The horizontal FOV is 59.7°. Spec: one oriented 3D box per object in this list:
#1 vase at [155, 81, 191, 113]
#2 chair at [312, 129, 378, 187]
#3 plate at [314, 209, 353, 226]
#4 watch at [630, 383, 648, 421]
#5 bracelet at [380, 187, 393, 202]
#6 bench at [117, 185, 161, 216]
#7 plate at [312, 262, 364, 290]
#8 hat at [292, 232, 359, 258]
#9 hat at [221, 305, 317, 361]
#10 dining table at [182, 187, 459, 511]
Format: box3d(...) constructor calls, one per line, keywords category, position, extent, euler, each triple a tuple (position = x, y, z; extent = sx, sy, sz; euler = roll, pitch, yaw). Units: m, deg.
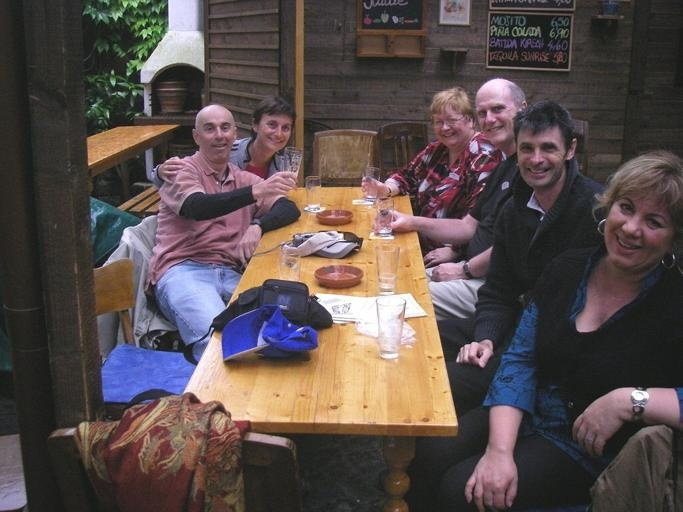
box3d(category="vase", position=(-2.021, -1.898, 7.098), extent=(0.377, 0.322, 0.350), euler=(0, 12, -3))
box3d(category="chair", position=(0.000, -0.821, 5.137), extent=(0.466, 0.809, 0.532), euler=(1, 8, -1))
box3d(category="plate", position=(-0.039, -0.219, 3.304), extent=(0.123, 0.042, 0.123), euler=(-3, 24, 2))
box3d(category="watch", position=(0.867, 0.423, 1.741), extent=(0.048, 0.079, 0.080), euler=(2, 29, 24))
box3d(category="bracelet", position=(0.303, -0.407, 3.848), extent=(0.040, 0.084, 0.112), euler=(31, 30, 2))
box3d(category="bench", position=(-1.696, -0.437, 5.026), extent=(0.359, 0.117, 0.559), euler=(1, 30, 0))
box3d(category="plate", position=(-0.014, 0.082, 2.470), extent=(0.128, 0.034, 0.121), euler=(-6, 21, -14))
box3d(category="hat", position=(-0.071, -0.058, 2.803), extent=(0.228, 0.083, 0.155), euler=(4, 10, -7))
box3d(category="hat", position=(-0.234, 0.256, 1.935), extent=(0.257, 0.089, 0.174), euler=(-12, 25, 2))
box3d(category="dining table", position=(-0.092, 0.340, 2.175), extent=(0.550, 0.350, 1.424), euler=(0, 24, -1))
